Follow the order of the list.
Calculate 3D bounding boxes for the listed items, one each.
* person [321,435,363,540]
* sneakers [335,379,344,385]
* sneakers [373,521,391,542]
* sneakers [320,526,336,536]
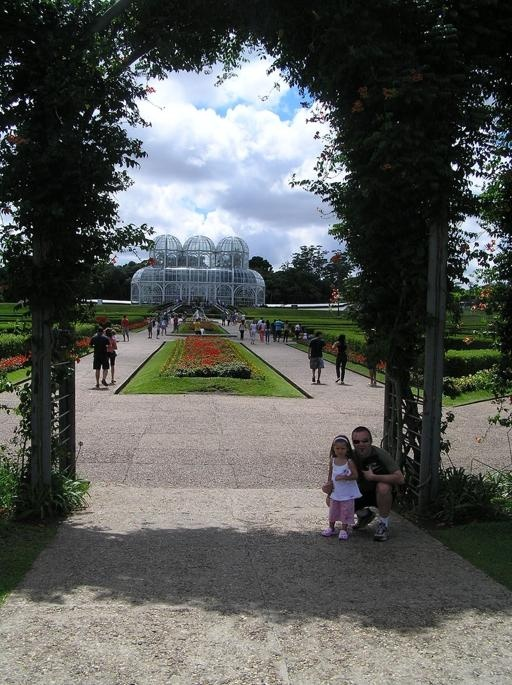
[{"bbox_3d":[0.675,1.137,4.167,0.296,0.773,0.477,-1,-5,10],"label":"person"},{"bbox_3d":[2.919,1.407,18.459,0.377,0.120,0.264,6,17,40],"label":"sneakers"},{"bbox_3d":[0.948,1.434,3.994,0.078,0.092,0.207,-5,-14,17],"label":"sneakers"},{"bbox_3d":[0.547,1.469,4.061,0.055,0.055,0.145,-5,-17,27],"label":"sneakers"}]
